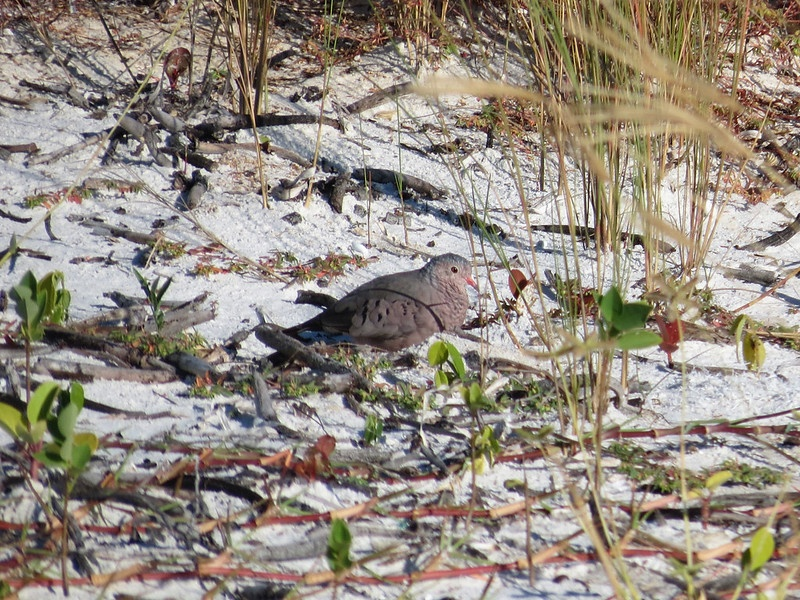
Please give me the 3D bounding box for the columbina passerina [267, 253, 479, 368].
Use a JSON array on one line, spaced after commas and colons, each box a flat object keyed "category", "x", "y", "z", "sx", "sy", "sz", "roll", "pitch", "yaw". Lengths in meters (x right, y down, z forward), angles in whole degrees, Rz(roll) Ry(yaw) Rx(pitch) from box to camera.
[{"category": "columbina passerina", "x": -0.148, "y": 0.078, "z": 4.534, "sx": 1.045, "sy": 0.408, "sz": 0.641, "roll": 10, "pitch": 66, "yaw": -5}]
